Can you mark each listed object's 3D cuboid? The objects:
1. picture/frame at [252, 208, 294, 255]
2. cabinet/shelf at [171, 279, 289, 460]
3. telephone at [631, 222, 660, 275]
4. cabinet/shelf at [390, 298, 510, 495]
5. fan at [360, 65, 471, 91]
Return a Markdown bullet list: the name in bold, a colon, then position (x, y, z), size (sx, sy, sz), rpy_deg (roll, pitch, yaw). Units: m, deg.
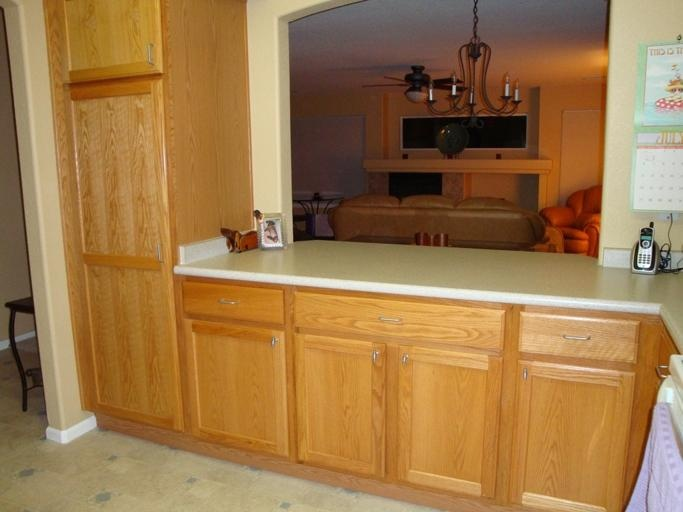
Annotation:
- **picture/frame**: position (-0.433, -0.149, 3.395), size (0.290, 0.349, 0.049), rpy_deg (-5, 2, -35)
- **cabinet/shelf**: position (-0.454, 0.517, 3.179), size (0.809, 0.942, 0.770), rpy_deg (1, 13, 9)
- **telephone**: position (1.482, -0.025, 2.682), size (0.120, 0.216, 0.070), rpy_deg (5, 16, 26)
- **cabinet/shelf**: position (0.542, 0.715, 2.824), size (0.616, 0.856, 0.667), rpy_deg (5, 11, 27)
- **fan**: position (0.894, -2.160, 6.629), size (1.236, 0.291, 1.309), rpy_deg (7, 16, 17)
